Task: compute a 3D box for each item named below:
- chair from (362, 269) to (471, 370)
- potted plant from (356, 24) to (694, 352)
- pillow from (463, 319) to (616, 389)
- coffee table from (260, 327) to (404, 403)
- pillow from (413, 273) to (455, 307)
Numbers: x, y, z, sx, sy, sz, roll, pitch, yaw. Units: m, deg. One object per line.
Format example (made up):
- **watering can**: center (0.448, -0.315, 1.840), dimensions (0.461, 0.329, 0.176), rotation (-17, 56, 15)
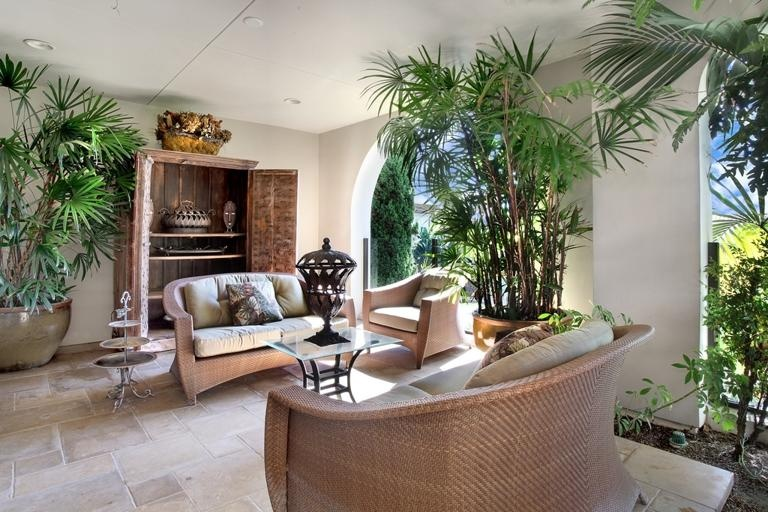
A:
- **chair**: center (0.387, 0.639, 5.435), dimensions (1.037, 0.894, 1.014), rotation (5, 5, 38)
- **potted plant**: center (1.078, -0.618, 4.263), dimensions (1.886, 2.728, 2.258), rotation (-11, 18, -38)
- **pillow**: center (0.872, 0.551, 2.960), dimensions (0.486, 0.145, 0.537), rotation (-29, -16, 30)
- **coffee table**: center (-0.455, 0.927, 4.087), dimensions (0.779, 0.503, 0.809), rotation (1, 1, -28)
- **pillow**: center (0.492, 0.369, 5.370), dimensions (0.410, 0.448, 0.352), rotation (13, -7, -42)
